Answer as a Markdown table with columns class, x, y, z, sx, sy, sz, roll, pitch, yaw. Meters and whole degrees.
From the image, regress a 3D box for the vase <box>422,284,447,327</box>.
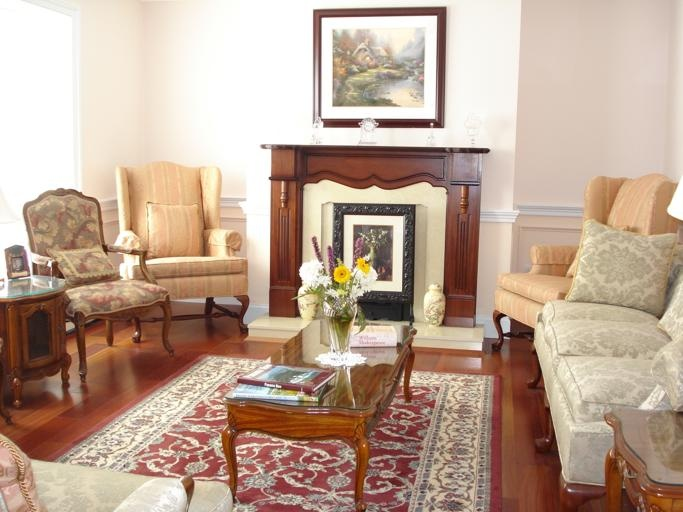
| class | x | y | z | sx | sy | sz | roll | pitch | yaw |
| --- | --- | --- | --- | --- | --- | --- | --- | --- | --- |
| vase | 0.886 | 0.440 | 4.633 | 0.200 | 0.392 | 0.224 | 2 | 13 | 10 |

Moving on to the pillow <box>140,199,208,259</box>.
| class | x | y | z | sx | sy | sz | roll | pitch | yaw |
| --- | --- | --- | --- | --- | --- | --- | --- | --- | --- |
| pillow | -1.638 | -0.269 | 4.727 | 0.600 | 0.518 | 0.212 | -3 | -7 | -28 |

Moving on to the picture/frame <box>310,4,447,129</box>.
| class | x | y | z | sx | sy | sz | roll | pitch | yaw |
| --- | --- | --- | --- | --- | --- | --- | --- | --- | --- |
| picture/frame | 0.406 | -1.860 | 4.698 | 1.313 | 1.017 | 0.056 | 1 | 12 | 9 |

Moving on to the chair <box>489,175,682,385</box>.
| class | x | y | z | sx | sy | sz | roll | pitch | yaw |
| --- | --- | --- | --- | --- | --- | --- | --- | --- | --- |
| chair | 2.225 | 0.066 | 4.593 | 1.764 | 2.042 | 1.536 | -1 | 6 | -10 |

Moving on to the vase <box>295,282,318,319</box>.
| class | x | y | z | sx | sy | sz | roll | pitch | yaw |
| --- | --- | --- | --- | --- | --- | --- | --- | --- | --- |
| vase | -0.283 | 0.410 | 4.753 | 0.258 | 0.386 | 0.249 | -2 | 4 | -8 |

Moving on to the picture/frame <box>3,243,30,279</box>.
| class | x | y | z | sx | sy | sz | roll | pitch | yaw |
| --- | --- | --- | --- | --- | --- | --- | --- | --- | --- |
| picture/frame | -2.291 | 0.028 | 3.465 | 0.133 | 0.234 | 0.161 | -9 | 15 | -34 |

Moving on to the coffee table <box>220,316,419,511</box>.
| class | x | y | z | sx | sy | sz | roll | pitch | yaw |
| --- | --- | --- | --- | --- | --- | --- | --- | --- | --- |
| coffee table | -0.059 | 0.761 | 2.467 | 0.653 | 0.506 | 0.908 | 4 | 12 | 19 |

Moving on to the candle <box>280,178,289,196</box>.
| class | x | y | z | sx | sy | sz | roll | pitch | yaw |
| --- | --- | --- | --- | --- | --- | --- | --- | --- | --- |
| candle | -0.541 | -0.668 | 4.700 | 0.061 | 0.139 | 0.038 | -2 | 13 | -7 |
